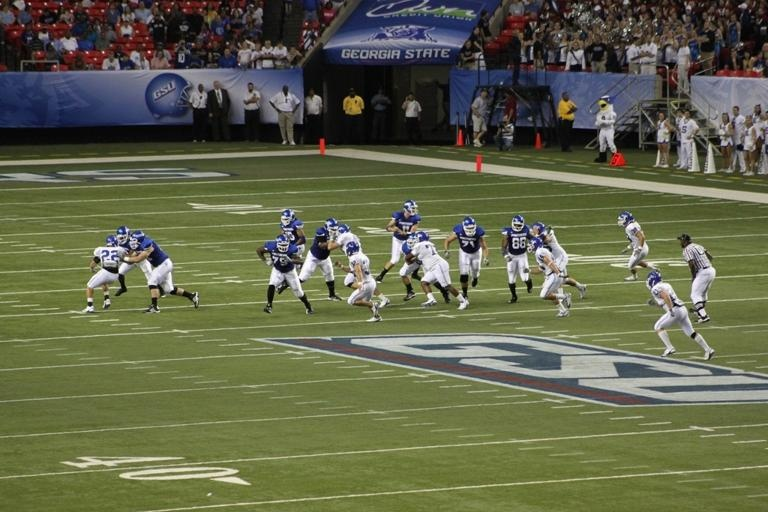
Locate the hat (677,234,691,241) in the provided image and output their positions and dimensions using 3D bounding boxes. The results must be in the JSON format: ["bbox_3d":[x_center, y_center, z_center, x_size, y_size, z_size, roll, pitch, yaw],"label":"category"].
[{"bbox_3d":[5.562,-0.334,22.088,0.167,0.167,0.145,-7,-24,-34],"label":"hat"}]

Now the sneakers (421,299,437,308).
[{"bbox_3d":[0.845,0.880,22.171,0.347,0.136,0.100,-2,-11,10],"label":"sneakers"}]

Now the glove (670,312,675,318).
[{"bbox_3d":[4.571,0.930,18.858,0.066,0.084,0.098,-1,-6,11],"label":"glove"}]

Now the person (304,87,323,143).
[{"bbox_3d":[-2.709,-5.158,44.558,0.669,1.976,1.242,1,4,-4],"label":"person"}]

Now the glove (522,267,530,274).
[{"bbox_3d":[2.647,0.278,22.271,0.102,0.055,0.091,-6,14,-28],"label":"glove"}]

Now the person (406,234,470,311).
[{"bbox_3d":[0.915,0.259,22.136,1.298,1.380,0.628,2,4,10],"label":"person"}]

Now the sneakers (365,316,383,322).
[{"bbox_3d":[-0.164,1.106,21.126,0.327,0.101,0.088,2,22,21],"label":"sneakers"}]

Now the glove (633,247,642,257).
[{"bbox_3d":[4.992,-0.098,23.467,0.163,0.182,0.141,2,4,16],"label":"glove"}]

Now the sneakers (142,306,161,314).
[{"bbox_3d":[-4.291,0.971,21.623,0.343,0.111,0.103,4,7,11],"label":"sneakers"}]

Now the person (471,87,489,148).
[{"bbox_3d":[3.415,-4.979,43.307,0.583,2.092,0.766,2,4,4],"label":"person"}]

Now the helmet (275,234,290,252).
[{"bbox_3d":[-1.824,-0.227,21.283,0.312,0.226,0.333,-1,7,-19],"label":"helmet"}]

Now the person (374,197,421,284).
[{"bbox_3d":[0.345,-0.253,23.300,1.144,1.461,0.752,3,-2,-10],"label":"person"}]

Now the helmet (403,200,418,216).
[{"bbox_3d":[0.501,-0.910,23.107,0.228,0.274,0.446,1,3,-5],"label":"helmet"}]

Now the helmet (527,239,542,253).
[{"bbox_3d":[2.775,-0.186,21.999,0.324,0.233,0.156,1,16,17],"label":"helmet"}]

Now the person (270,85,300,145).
[{"bbox_3d":[-3.738,-5.161,44.278,1.025,2.160,1.565,1,4,-3],"label":"person"}]

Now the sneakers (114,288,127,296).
[{"bbox_3d":[-5.137,0.696,22.787,0.322,0.088,0.127,-16,3,24],"label":"sneakers"}]

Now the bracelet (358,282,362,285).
[{"bbox_3d":[-0.446,0.487,21.007,0.080,0.054,0.040,2,4,21],"label":"bracelet"}]

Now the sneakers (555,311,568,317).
[{"bbox_3d":[3.170,1.017,21.333,0.232,0.130,0.206,3,4,27],"label":"sneakers"}]

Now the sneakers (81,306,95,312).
[{"bbox_3d":[-5.395,0.969,21.580,0.257,0.085,0.096,1,-4,44],"label":"sneakers"}]

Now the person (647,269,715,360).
[{"bbox_3d":[4.732,0.935,18.995,1.066,1.367,0.806,2,4,12],"label":"person"}]

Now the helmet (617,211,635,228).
[{"bbox_3d":[4.734,-0.715,23.772,0.522,0.307,0.357,2,8,19],"label":"helmet"}]

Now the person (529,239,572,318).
[{"bbox_3d":[3.049,0.369,21.696,0.681,1.375,1.044,1,4,-4],"label":"person"}]

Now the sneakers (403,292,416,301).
[{"bbox_3d":[0.450,0.761,22.671,0.293,0.114,0.090,-25,46,-2],"label":"sneakers"}]

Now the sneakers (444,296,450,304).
[{"bbox_3d":[1.176,0.827,22.439,0.075,0.117,0.197,5,15,19],"label":"sneakers"}]

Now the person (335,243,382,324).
[{"bbox_3d":[-0.446,0.435,21.432,0.738,1.384,1.082,1,4,-2],"label":"person"}]

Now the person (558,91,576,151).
[{"bbox_3d":[6.175,-4.479,40.426,0.556,1.928,1.219,2,4,8],"label":"person"}]

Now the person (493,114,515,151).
[{"bbox_3d":[4.218,-4.280,41.877,0.573,1.274,0.636,2,4,3],"label":"person"}]

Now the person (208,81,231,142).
[{"bbox_3d":[-6.252,-5.342,44.483,0.863,2.121,1.433,1,4,-7],"label":"person"}]

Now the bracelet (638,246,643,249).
[{"bbox_3d":[5.031,-0.160,23.410,0.080,0.055,0.062,-1,-1,2],"label":"bracelet"}]

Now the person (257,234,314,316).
[{"bbox_3d":[-1.808,0.330,21.467,0.965,1.429,0.643,1,4,-3],"label":"person"}]

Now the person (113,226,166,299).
[{"bbox_3d":[-4.677,0.194,22.463,1.046,0.614,1.448,-15,-31,-25],"label":"person"}]

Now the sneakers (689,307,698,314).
[{"bbox_3d":[5.465,0.958,21.045,0.175,0.091,0.489,-2,-5,4],"label":"sneakers"}]

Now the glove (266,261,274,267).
[{"bbox_3d":[-2.076,0.142,21.204,0.137,0.050,0.157,9,-3,-14],"label":"glove"}]

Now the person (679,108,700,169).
[{"bbox_3d":[9.211,-3.451,36.046,0.566,1.728,1.115,2,4,13],"label":"person"}]

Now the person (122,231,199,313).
[{"bbox_3d":[-4.128,0.291,21.712,1.268,1.435,0.497,0,4,-10],"label":"person"}]
